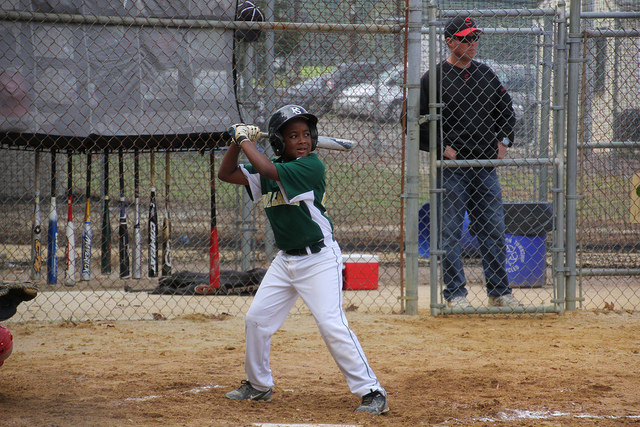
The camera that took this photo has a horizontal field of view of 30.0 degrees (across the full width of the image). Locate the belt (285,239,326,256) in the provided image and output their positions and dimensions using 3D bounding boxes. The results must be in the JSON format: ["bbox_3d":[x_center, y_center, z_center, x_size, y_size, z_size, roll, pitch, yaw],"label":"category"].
[{"bbox_3d":[-0.141,0.326,11.170,0.363,0.094,0.073,-3,1,-2],"label":"belt"}]

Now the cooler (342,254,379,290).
[{"bbox_3d":[0.494,0.684,14.380,0.389,0.332,0.424,0,0,2],"label":"cooler"}]

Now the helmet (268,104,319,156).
[{"bbox_3d":[-0.257,-0.785,11.248,0.432,0.479,0.531,-9,-5,-7],"label":"helmet"}]

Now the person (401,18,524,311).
[{"bbox_3d":[1.598,-0.545,13.017,1.048,3.161,0.511,-2,1,2],"label":"person"}]
